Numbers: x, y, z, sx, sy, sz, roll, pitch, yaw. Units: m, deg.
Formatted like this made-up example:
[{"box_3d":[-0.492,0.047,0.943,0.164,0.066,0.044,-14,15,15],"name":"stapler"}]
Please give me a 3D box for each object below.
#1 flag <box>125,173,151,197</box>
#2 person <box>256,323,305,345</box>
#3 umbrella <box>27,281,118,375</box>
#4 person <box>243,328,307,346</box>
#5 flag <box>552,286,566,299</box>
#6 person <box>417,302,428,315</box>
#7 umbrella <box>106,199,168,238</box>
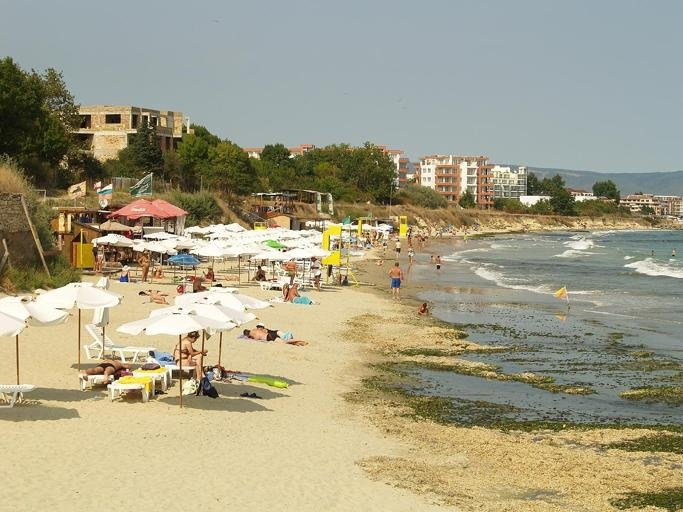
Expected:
[{"box_3d":[-12.702,-4.566,53.136,1.171,1.555,4.670,-2,2,-10],"name":"flag"},{"box_3d":[-2.244,2.701,27.891,1.291,0.359,0.744,14,11,36],"name":"person"},{"box_3d":[-7.532,2.138,23.385,2.224,2.468,2.253,-2,-4,27],"name":"umbrella"},{"box_3d":[-2.371,2.711,27.870,1.923,0.405,0.806,9,3,27],"name":"person"},{"box_3d":[11.099,1.907,42.632,0.890,0.133,0.972,-1,-36,3],"name":"flag"},{"box_3d":[3.450,2.265,35.560,0.435,0.769,0.436,-4,0,24],"name":"person"},{"box_3d":[-10.854,-2.238,44.888,2.554,1.351,2.410,0,9,-4],"name":"umbrella"}]
